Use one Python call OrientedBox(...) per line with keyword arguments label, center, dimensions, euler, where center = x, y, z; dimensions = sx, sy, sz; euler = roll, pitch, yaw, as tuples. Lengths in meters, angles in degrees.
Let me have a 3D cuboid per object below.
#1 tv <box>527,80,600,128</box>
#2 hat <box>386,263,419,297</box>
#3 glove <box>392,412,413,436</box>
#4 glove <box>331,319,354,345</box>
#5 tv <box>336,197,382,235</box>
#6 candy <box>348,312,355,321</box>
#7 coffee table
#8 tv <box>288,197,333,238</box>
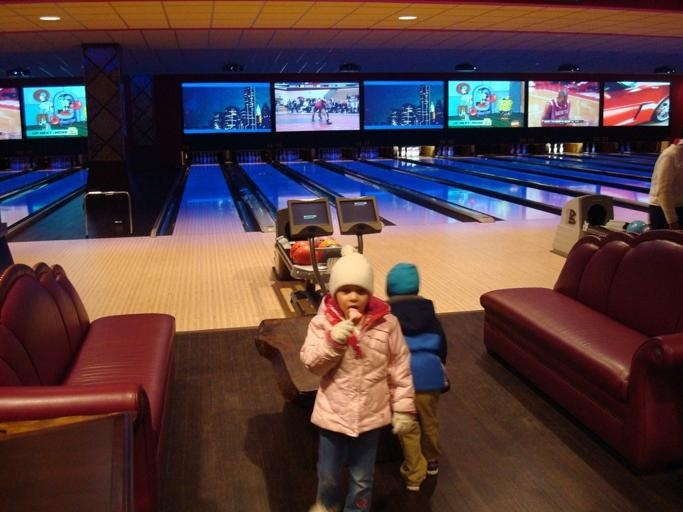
OrientedBox(label="tv", center=(7.578, -5.173, 15.973), dimensions=(2.642, 1.470, 0.516), euler=(-5, 15, -14))
OrientedBox(label="hat", center=(0.247, 0.114, 1.845), dimensions=(0.134, 0.158, 0.081), euler=(1, -30, 6))
OrientedBox(label="glove", center=(0.203, 0.555, 1.563), dimensions=(0.057, 0.057, 0.077), euler=(-2, -4, 22))
OrientedBox(label="glove", center=(0.002, 0.224, 1.402), dimensions=(0.054, 0.025, 0.071), euler=(29, 39, 21))
OrientedBox(label="tv", center=(0.107, -0.245, 3.063), dimensions=(0.279, 0.264, 0.282), euler=(-1, 15, -1))
OrientedBox(label="candy", center=(0.033, 0.190, 1.477), dimensions=(0.029, 0.016, 0.040), euler=(6, 0, 0))
OrientedBox(label="coffee table", center=(-0.134, 0.463, 2.128), dimensions=(0.486, 0.117, 0.490), euler=(-3, 14, -10))
OrientedBox(label="tv", center=(-0.209, -0.243, 3.062), dimensions=(0.356, 0.343, 0.117), euler=(-2, -23, -14))
